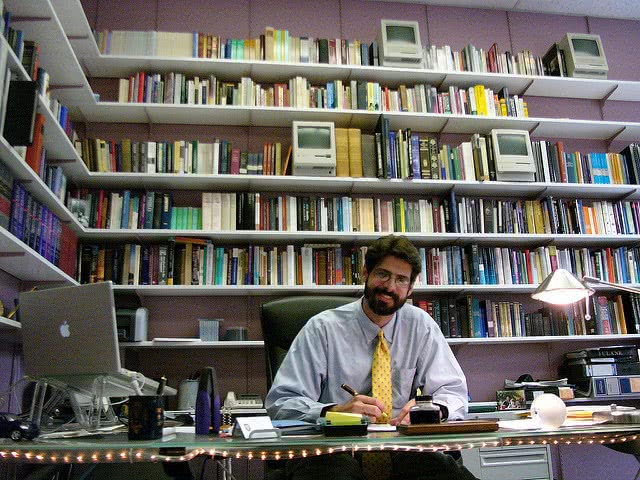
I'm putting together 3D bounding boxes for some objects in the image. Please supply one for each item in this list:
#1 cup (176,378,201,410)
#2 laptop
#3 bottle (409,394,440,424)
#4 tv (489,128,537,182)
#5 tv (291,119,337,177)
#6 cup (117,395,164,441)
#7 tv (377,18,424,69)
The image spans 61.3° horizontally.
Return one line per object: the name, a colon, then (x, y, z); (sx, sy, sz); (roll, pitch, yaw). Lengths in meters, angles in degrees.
cup: (-0.861, 0.994, 3.479); (0.123, 0.198, 0.421); (2, -17, -14)
laptop: (-0.903, 0.425, 2.249); (0.594, 0.332, 0.599); (19, -27, -39)
bottle: (0.326, 0.540, 1.716); (0.091, 0.079, 0.086); (3, -14, -8)
tv: (1.487, -0.617, 4.238); (0.335, 0.405, 0.252); (-3, -18, -2)
tv: (-0.078, -0.663, 4.095); (0.398, 0.392, 0.362); (-1, 0, 3)
cup: (-0.551, 0.555, 1.683); (0.122, 0.124, 0.126); (-3, -19, -1)
tv: (0.590, -1.491, 4.389); (0.394, 0.389, 0.385); (3, -25, -8)
